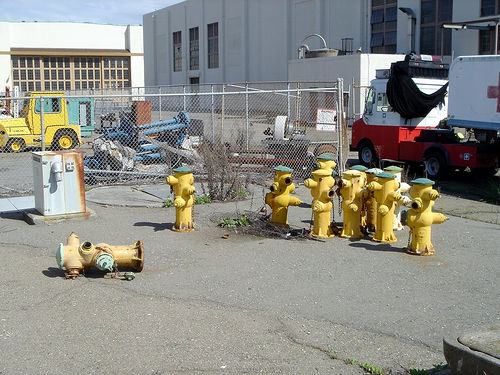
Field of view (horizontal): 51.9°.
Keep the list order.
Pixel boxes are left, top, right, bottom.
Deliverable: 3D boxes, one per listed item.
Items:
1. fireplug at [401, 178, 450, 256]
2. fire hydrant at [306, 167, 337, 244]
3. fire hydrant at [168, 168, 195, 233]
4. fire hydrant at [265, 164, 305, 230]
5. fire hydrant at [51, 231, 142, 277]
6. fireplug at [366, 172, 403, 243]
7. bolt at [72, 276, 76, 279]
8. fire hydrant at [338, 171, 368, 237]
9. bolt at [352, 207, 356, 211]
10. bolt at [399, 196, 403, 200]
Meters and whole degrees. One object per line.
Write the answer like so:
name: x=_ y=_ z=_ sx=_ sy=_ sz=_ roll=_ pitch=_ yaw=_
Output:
fireplug: x=2.865 y=0.507 z=8.668 sx=0.565 sy=1.283 sz=0.391 roll=5 pitch=13 yaw=19
fire hydrant: x=1.347 y=0.307 z=9.625 sx=0.582 sy=1.258 sz=0.819 roll=2 pitch=12 yaw=9
fire hydrant: x=-1.317 y=0.243 z=9.874 sx=0.473 sy=1.248 sz=0.435 roll=-2 pitch=12 yaw=-9
fire hydrant: x=0.636 y=0.183 z=10.070 sx=0.744 sy=1.195 sz=0.575 roll=4 pitch=13 yaw=18
fire hydrant: x=-2.272 y=1.011 z=7.761 sx=0.923 sy=0.446 sz=0.789 roll=3 pitch=16 yaw=-17
fireplug: x=2.433 y=0.381 z=9.319 sx=0.636 sy=1.292 sz=0.454 roll=2 pitch=12 yaw=7
bolt: x=-2.627 y=1.340 z=7.650 sx=0.042 sy=0.053 sz=0.040 roll=-5 pitch=13 yaw=-23
fire hydrant: x=2.024 y=0.303 z=9.662 sx=0.750 sy=1.213 sz=0.505 roll=-6 pitch=14 yaw=-26
bolt: x=1.913 y=0.380 z=9.433 sx=0.066 sy=0.065 sz=0.016 roll=-29 pitch=-3 yaw=11
bolt: x=2.684 y=0.180 z=9.120 sx=0.042 sy=0.043 sz=0.076 roll=-5 pitch=-36 yaw=3
